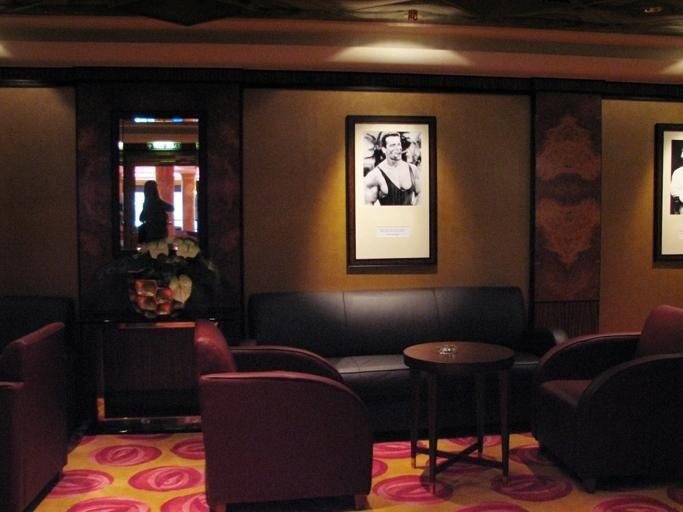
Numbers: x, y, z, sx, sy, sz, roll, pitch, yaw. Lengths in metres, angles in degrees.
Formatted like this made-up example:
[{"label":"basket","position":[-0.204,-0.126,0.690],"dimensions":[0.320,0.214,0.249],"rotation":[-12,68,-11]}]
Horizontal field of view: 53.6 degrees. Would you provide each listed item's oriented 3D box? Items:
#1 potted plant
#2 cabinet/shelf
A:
[{"label":"potted plant","position":[-1.452,0.202,5.758],"dimensions":[0.784,0.507,0.764],"rotation":[0,3,43]},{"label":"cabinet/shelf","position":[-1.809,1.048,5.923],"dimensions":[0.661,0.809,1.174],"rotation":[-11,-13,39]}]
